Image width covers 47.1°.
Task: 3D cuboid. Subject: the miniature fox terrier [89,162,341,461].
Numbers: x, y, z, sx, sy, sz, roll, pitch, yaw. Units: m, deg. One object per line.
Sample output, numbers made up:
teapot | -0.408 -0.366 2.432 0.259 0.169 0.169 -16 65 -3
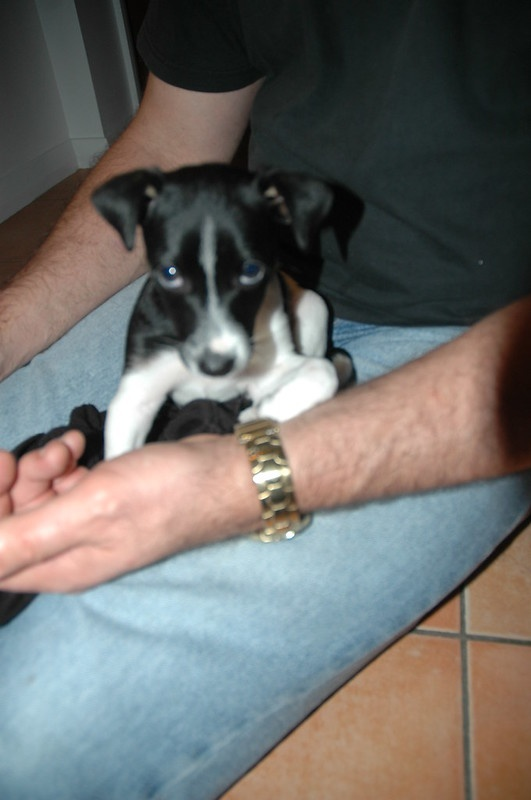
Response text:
miniature fox terrier | -0.050 -0.167 0.946 0.332 0.398 0.523 3 31 5

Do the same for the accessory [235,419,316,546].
accessory | 0.006 0.119 0.804 0.088 0.151 0.145 -10 16 -4
